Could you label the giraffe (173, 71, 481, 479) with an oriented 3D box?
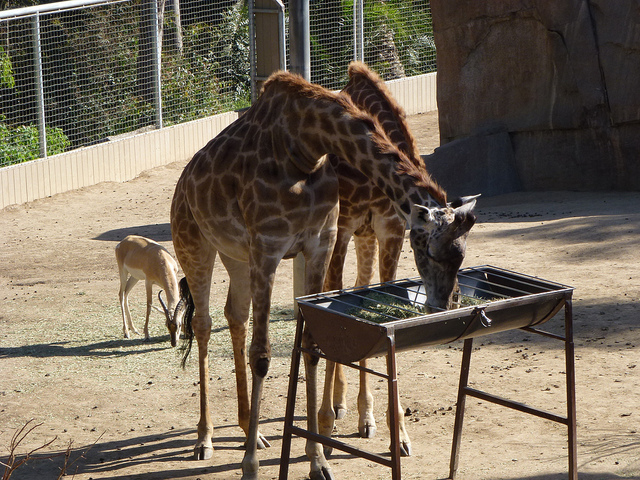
[{"bbox_3d":[-0.195,0.283,11.700,2.967,3.596,0.971,4,10,35],"label":"giraffe"}]
